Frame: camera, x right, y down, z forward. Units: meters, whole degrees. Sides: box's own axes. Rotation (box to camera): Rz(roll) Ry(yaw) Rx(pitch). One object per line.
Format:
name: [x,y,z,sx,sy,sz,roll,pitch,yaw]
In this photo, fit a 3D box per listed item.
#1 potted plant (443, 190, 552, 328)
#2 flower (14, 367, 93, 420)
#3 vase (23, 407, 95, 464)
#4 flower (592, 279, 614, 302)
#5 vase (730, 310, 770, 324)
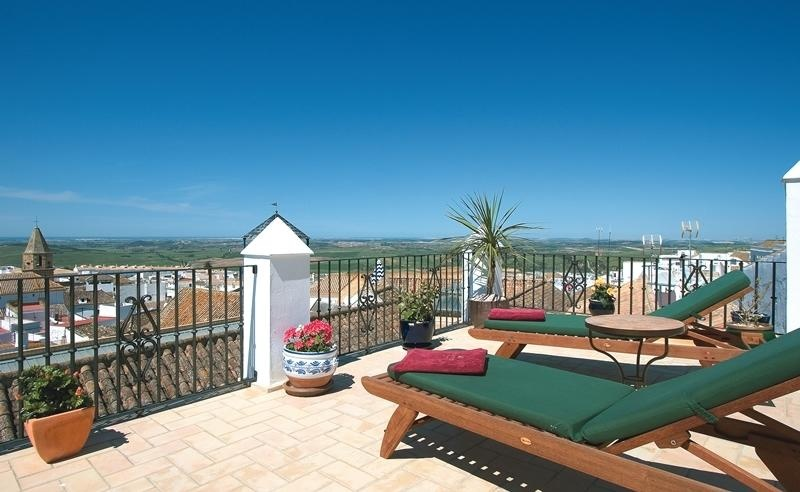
potted plant: [1.802,0.330,8.879,1.980,2.315,1.476,-2,-6,-2]
flower: [-3.641,1.536,4.775,0.770,0.422,0.653,1,6,-42]
vase: [-3.554,1.997,4.734,0.612,0.430,0.702,1,-5,-38]
flower: [3.582,0.783,8.079,0.519,0.331,0.413,0,1,-18]
vase: [5.095,1.044,6.613,0.415,0.115,0.360,1,-2,-17]
